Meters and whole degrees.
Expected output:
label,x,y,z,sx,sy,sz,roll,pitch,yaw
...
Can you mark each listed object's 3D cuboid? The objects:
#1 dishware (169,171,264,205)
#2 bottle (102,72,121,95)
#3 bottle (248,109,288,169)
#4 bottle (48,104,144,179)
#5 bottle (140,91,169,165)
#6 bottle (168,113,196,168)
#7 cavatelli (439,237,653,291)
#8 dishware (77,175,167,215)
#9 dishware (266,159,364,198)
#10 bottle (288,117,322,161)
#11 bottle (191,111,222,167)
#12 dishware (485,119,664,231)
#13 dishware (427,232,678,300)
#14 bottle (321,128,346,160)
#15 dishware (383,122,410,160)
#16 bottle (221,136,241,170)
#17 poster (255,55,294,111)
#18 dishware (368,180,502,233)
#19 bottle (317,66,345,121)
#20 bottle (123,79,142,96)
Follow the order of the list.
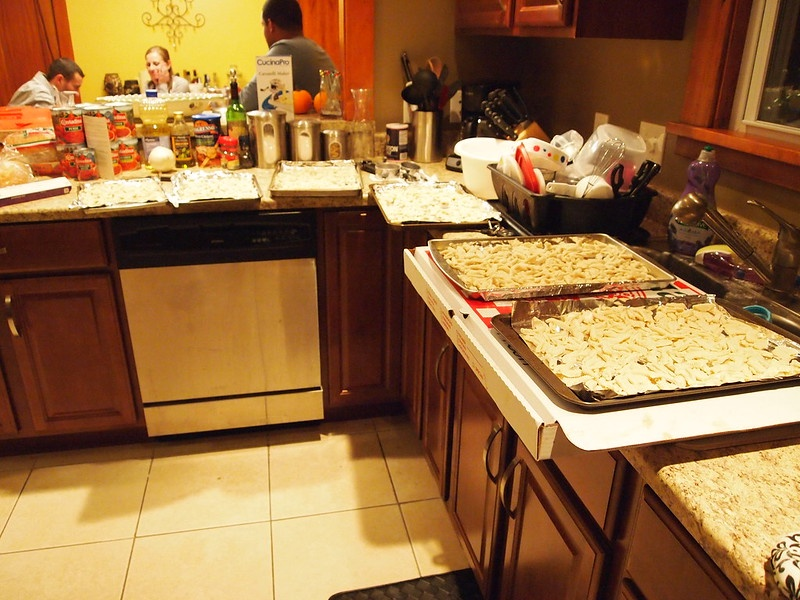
label,x,y,z,sx,sy,sz,roll,pitch,yaw
dishware,-0.710,-0.420,2.259,0.232,0.034,0.238,-4,40,-16
bottle,-2.493,-1.861,5.170,0.136,0.185,0.139,4,26,-2
bottle,-0.531,-0.698,2.624,0.220,0.236,0.221,-3,34,-6
bottle,-1.199,-0.625,2.378,0.309,0.269,0.157,-16,29,-24
bottle,-1.050,-0.742,2.555,0.118,0.310,0.120,7,32,-5
bottle,-0.930,-0.679,2.550,0.102,0.220,0.124,-12,27,-17
cavatelli,0.403,-0.101,1.664,0.370,0.041,0.233,-3,35,-7
dishware,-1.025,-0.388,2.205,0.315,0.044,0.310,-12,28,-18
dishware,-0.332,-0.481,2.374,0.250,0.037,0.259,-2,37,-7
bottle,-0.397,-0.693,2.635,0.166,0.181,0.171,0,33,-5
bottle,-0.835,-0.688,2.591,0.132,0.204,0.145,-3,26,1
dishware,0.547,-0.352,1.930,0.426,0.158,0.387,-4,49,-4
dishware,0.397,-0.088,1.640,0.406,0.045,0.275,-4,33,-8
bottle,-0.295,-0.684,2.671,0.114,0.129,0.100,-5,26,-4
dishware,-0.039,-0.723,2.772,0.133,0.154,0.135,6,17,11
bottle,-0.731,-0.622,2.555,0.082,0.134,0.069,-9,27,-12
poster,-0.559,-0.940,2.656,0.162,0.303,0.024,-8,47,-18
dishware,0.113,-0.353,2.181,0.395,0.061,0.493,-8,27,-9
bottle,-0.323,-0.957,2.849,0.151,0.234,0.158,0,2,0
bottle,-2.342,-1.848,5.210,0.145,0.102,0.107,-14,28,-20
